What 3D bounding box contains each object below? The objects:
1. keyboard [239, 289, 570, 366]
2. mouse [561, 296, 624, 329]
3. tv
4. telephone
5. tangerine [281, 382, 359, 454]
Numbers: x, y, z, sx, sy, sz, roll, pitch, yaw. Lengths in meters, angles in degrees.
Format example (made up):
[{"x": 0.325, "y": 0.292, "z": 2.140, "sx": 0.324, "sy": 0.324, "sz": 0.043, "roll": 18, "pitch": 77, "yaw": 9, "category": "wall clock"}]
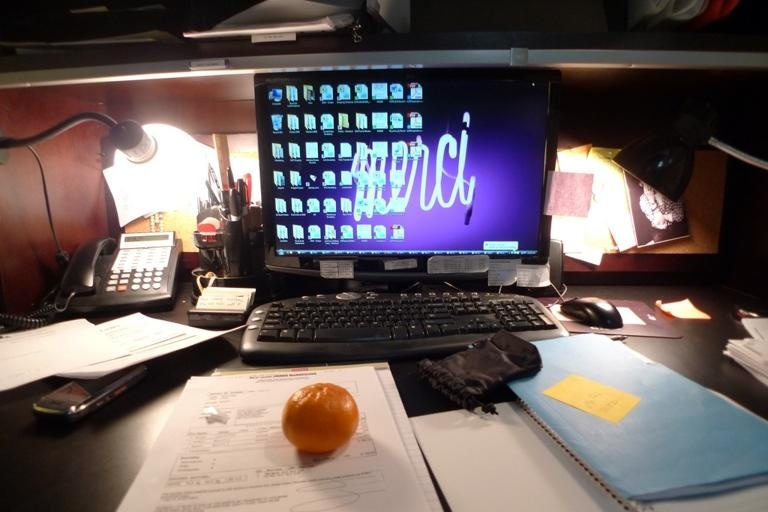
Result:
[{"x": 0.083, "y": 0.171, "z": 1.339, "sx": 0.831, "sy": 0.064, "sz": 0.340, "roll": -1, "pitch": 15, "yaw": -16, "category": "keyboard"}, {"x": 0.520, "y": 0.124, "z": 1.364, "sx": 0.149, "sy": 0.067, "sz": 0.155, "roll": 2, "pitch": 14, "yaw": 12, "category": "mouse"}, {"x": 0.058, "y": -0.194, "z": 1.353, "sx": 0.762, "sy": 0.548, "sz": 0.054, "roll": -1, "pitch": 11, "yaw": 2, "category": "tv"}, {"x": -0.728, "y": 0.030, "z": 1.482, "sx": 0.373, "sy": 0.101, "sz": 0.354, "roll": -19, "pitch": 36, "yaw": -30, "category": "telephone"}, {"x": -0.113, "y": 0.301, "z": 1.081, "sx": 0.178, "sy": 0.108, "sz": 0.201, "roll": 0, "pitch": 2, "yaw": 33, "category": "tangerine"}]
